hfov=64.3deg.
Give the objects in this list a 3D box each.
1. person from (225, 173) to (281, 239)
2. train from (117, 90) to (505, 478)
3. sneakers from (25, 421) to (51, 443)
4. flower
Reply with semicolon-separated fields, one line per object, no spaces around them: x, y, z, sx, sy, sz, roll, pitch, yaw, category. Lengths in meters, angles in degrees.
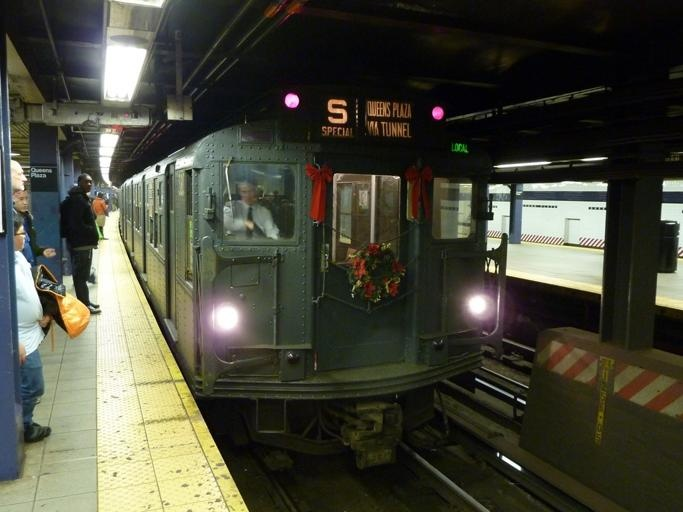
-1.046;-0.438;6.299;0.597;0.912;0.487;-7;-8;-6;person
-0.071;0.299;7.166;4.601;4.606;2.357;0;9;-7;train
-3.256;1.847;5.860;0.295;0.217;0.104;-9;26;-41;sneakers
0.489;0.207;6.684;0.671;0.803;0.228;-3;-34;11;flower
